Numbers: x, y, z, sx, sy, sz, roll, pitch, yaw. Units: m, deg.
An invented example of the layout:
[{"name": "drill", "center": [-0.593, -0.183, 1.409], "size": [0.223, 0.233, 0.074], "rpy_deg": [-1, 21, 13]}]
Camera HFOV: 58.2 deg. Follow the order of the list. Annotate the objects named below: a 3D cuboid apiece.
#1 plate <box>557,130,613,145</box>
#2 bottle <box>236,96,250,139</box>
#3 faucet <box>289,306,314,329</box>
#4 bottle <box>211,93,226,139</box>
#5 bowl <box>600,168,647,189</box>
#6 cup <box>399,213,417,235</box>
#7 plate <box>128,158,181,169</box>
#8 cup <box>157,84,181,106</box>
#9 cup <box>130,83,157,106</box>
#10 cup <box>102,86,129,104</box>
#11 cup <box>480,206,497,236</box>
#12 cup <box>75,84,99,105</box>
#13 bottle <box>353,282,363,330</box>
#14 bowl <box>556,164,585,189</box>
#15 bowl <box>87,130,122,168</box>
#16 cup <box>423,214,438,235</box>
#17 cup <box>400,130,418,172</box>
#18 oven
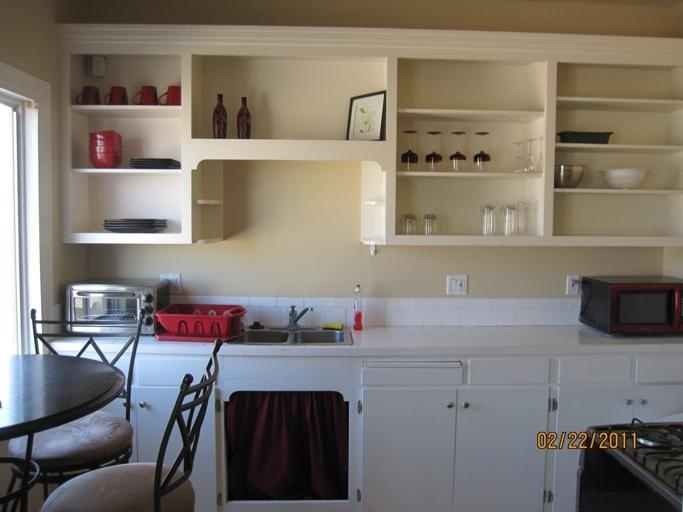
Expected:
[{"name": "plate", "center": [1.563, -0.762, 3.932], "size": [0.279, 0.064, 0.137], "rpy_deg": [1, 2, 6]}, {"name": "bottle", "center": [-0.627, -0.887, 3.937], "size": [0.097, 0.290, 0.256], "rpy_deg": [-1, 4, -10]}, {"name": "faucet", "center": [-0.270, 0.401, 4.085], "size": [0.159, 0.144, 0.183], "rpy_deg": [0, 4, -2]}, {"name": "bottle", "center": [-0.781, -0.894, 3.928], "size": [0.101, 0.308, 0.256], "rpy_deg": [-1, 4, -10]}, {"name": "bowl", "center": [1.832, -0.473, 3.932], "size": [0.180, 0.068, 0.171], "rpy_deg": [1, 1, 0]}, {"name": "cup", "center": [0.447, -0.215, 4.065], "size": [0.144, 0.166, 0.108], "rpy_deg": [1, 1, -10]}, {"name": "plate", "center": [-1.161, -0.579, 3.838], "size": [0.295, 0.065, 0.093], "rpy_deg": [-1, 4, -15]}, {"name": "cup", "center": [-1.093, -1.034, 3.909], "size": [0.128, 0.166, 0.214], "rpy_deg": [-1, 4, -17]}, {"name": "cup", "center": [-1.290, -1.028, 3.902], "size": [0.207, 0.146, 0.133], "rpy_deg": [-6, 15, -27]}, {"name": "cup", "center": [-1.439, -1.027, 3.931], "size": [0.170, 0.145, 0.105], "rpy_deg": [-2, 6, -25]}, {"name": "cup", "center": [0.969, -0.237, 4.018], "size": [0.100, 0.192, 0.229], "rpy_deg": [1, 4, 14]}, {"name": "cup", "center": [-1.590, -1.016, 3.859], "size": [0.098, 0.145, 0.159], "rpy_deg": [7, 7, 35]}, {"name": "bottle", "center": [0.115, 0.338, 4.105], "size": [0.064, 0.287, 0.156], "rpy_deg": [0, 4, 1]}, {"name": "bowl", "center": [1.477, -0.509, 3.941], "size": [0.161, 0.100, 0.161], "rpy_deg": [-1, 2, 0]}, {"name": "bowl", "center": [-1.479, -0.669, 3.849], "size": [0.225, 0.272, 0.219], "rpy_deg": [1, 6, 0]}, {"name": "cup", "center": [0.589, -0.216, 4.047], "size": [0.096, 0.146, 0.129], "rpy_deg": [-2, 2, -39]}, {"name": "cup", "center": [0.446, -0.700, 4.008], "size": [0.110, 0.275, 0.168], "rpy_deg": [0, 4, 6]}, {"name": "oven", "center": [-1.495, 0.331, 3.967], "size": [0.560, 0.320, 0.417], "rpy_deg": [2, 3, -13]}]
